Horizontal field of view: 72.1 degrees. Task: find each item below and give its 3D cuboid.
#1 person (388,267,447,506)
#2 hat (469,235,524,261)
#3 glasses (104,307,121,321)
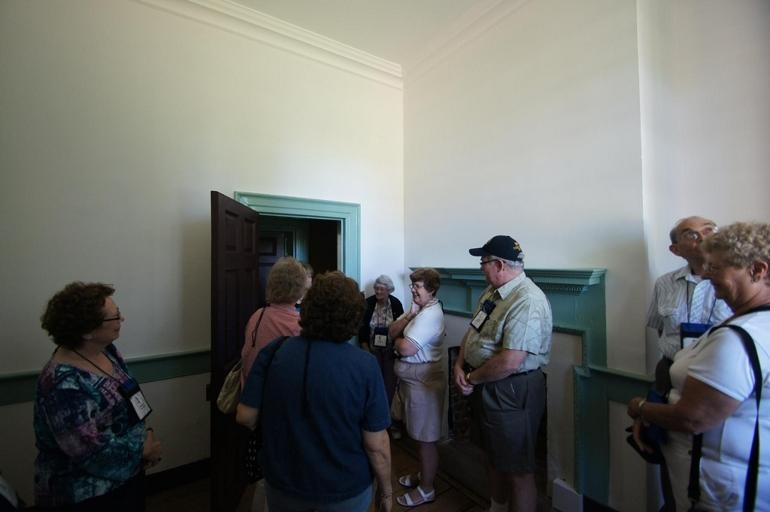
[{"bbox_3d":[0.265,1.000,4.086,0.401,1.819,0.463,1,3,1],"label":"person"},{"bbox_3d":[0.819,-0.073,3.748,0.284,0.165,0.194,16,9,21],"label":"hat"},{"bbox_3d":[-1.654,0.353,3.223,0.067,0.087,0.088,4,18,11],"label":"glasses"}]
